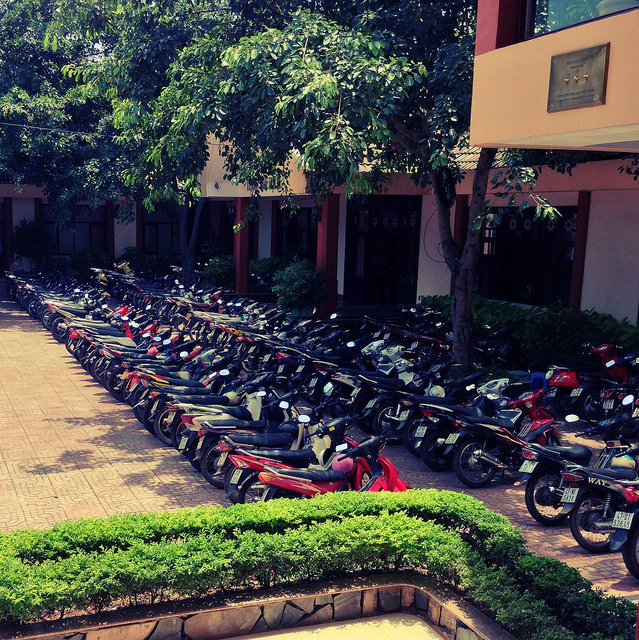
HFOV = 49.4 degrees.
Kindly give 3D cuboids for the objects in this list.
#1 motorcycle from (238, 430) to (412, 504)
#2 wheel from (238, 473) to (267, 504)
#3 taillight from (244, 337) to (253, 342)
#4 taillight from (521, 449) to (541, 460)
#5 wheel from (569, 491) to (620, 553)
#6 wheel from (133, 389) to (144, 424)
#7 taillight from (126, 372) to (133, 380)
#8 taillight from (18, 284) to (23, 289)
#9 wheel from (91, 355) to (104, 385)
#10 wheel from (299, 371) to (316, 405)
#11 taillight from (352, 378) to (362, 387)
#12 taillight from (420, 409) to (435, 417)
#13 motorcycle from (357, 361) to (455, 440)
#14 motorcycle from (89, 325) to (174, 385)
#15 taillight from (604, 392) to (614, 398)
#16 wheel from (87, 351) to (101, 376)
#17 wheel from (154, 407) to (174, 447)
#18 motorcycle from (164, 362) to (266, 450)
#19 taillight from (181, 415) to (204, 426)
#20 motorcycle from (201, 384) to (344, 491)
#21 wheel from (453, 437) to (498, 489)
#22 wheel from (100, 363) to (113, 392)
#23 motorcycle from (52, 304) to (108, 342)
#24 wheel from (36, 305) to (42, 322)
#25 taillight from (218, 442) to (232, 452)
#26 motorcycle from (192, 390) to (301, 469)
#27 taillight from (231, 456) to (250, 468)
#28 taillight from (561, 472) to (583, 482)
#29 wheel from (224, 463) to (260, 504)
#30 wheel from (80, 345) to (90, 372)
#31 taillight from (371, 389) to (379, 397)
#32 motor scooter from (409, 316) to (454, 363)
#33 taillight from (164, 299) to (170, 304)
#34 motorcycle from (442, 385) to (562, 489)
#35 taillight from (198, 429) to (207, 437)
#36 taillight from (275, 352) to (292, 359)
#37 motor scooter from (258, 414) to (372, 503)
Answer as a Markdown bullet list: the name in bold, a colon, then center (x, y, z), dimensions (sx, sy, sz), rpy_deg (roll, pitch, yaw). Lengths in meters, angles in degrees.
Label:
- **motorcycle**: center (0.048, 1.289, 6.049), dimensions (1.392, 0.714, 0.603), rpy_deg (-3, -1, -22)
- **wheel**: center (-0.557, 1.396, 5.762), dimensions (0.066, 0.302, 0.323), rpy_deg (22, -14, 29)
- **taillight**: center (-1.095, 0.227, 10.782), dimensions (0.084, 0.082, 0.268), rpy_deg (0, 5, -21)
- **taillight**: center (1.832, 1.160, 6.047), dimensions (0.090, 0.044, 0.083), rpy_deg (8, 4, -1)
- **wheel**: center (2.152, 1.607, 5.720), dimensions (0.475, 0.511, 0.453), rpy_deg (1, 6, 0)
- **wheel**: center (-2.272, 1.056, 8.731), dimensions (0.109, 0.331, 0.342), rpy_deg (-1, -18, -18)
- **taillight**: center (-2.457, 0.700, 9.031), dimensions (0.103, 0.134, 0.042), rpy_deg (5, 1, 14)
- **taillight**: center (-8.342, -1.114, 19.423), dimensions (0.138, 0.153, 0.268), rpy_deg (-3, 40, -20)
- **wheel**: center (-3.561, 0.708, 11.080), dimensions (0.127, 0.394, 0.412), rpy_deg (-1, -12, -31)
- **wheel**: center (-0.149, 0.910, 9.556), dimensions (0.106, 0.369, 0.394), rpy_deg (2, 6, -24)
- **taillight**: center (0.457, 0.721, 8.550), dimensions (0.067, 0.057, 0.113), rpy_deg (-13, -9, 3)
- **taillight**: center (1.134, 0.956, 7.336), dimensions (0.126, 0.068, 0.058), rpy_deg (5, 13, 3)
- **motorcycle**: center (1.207, 0.961, 8.273), dimensions (1.250, 0.724, 0.621), rpy_deg (-4, 1, -32)
- **motorcycle**: center (-2.806, 0.498, 10.749), dimensions (1.268, 0.750, 0.778), rpy_deg (-7, 12, -23)
- **taillight**: center (3.872, 0.963, 9.296), dimensions (0.060, 0.029, 0.081), rpy_deg (19, 52, 29)
- **wheel**: center (-3.699, 0.622, 11.316), dimensions (0.330, 0.310, 0.107), rpy_deg (-3, -7, 38)
- **wheel**: center (-1.770, 1.213, 8.019), dimensions (0.246, 0.416, 0.248), rpy_deg (2, 5, 0)
- **motorcycle**: center (-1.084, 0.907, 7.678), dimensions (1.209, 0.718, 0.674), rpy_deg (-7, 8, -20)
- **taillight**: center (-1.266, 0.950, 6.786), dimensions (0.150, 0.055, 0.112), rpy_deg (1, 5, 19)
- **motorcycle**: center (-0.407, 1.119, 6.749), dimensions (1.429, 0.822, 0.756), rpy_deg (-10, 12, -33)
- **wheel**: center (1.599, 1.447, 7.003), dimensions (0.491, 0.506, 0.159), rpy_deg (7, -10, 45)
- **wheel**: center (-3.238, 0.826, 10.513), dimensions (0.105, 0.298, 0.315), rpy_deg (1, 0, -42)
- **motorcycle**: center (-4.482, 0.068, 13.534), dimensions (1.393, 0.814, 0.845), rpy_deg (-4, 12, -19)
- **wheel**: center (-6.877, -0.297, 17.061), dimensions (0.110, 0.341, 0.353), rpy_deg (-5, 16, -2)
- **taillight**: center (-0.824, 1.100, 6.073), dimensions (0.076, 0.053, 0.175), rpy_deg (-30, -4, -6)
- **motorcycle**: center (-0.675, 1.021, 6.867), dimensions (1.074, 0.645, 0.545), rpy_deg (-9, 8, -27)
- **taillight**: center (-0.643, 1.177, 5.724), dimensions (0.157, 0.095, 0.080), rpy_deg (2, 5, 7)
- **taillight**: center (1.975, 1.237, 5.450), dimensions (0.114, 0.099, 0.159), rpy_deg (2, 5, -3)
- **wheel**: center (-0.673, 1.435, 6.177), dimensions (0.108, 0.385, 0.402), rpy_deg (5, -14, -25)
- **wheel**: center (-4.035, 0.573, 11.885), dimensions (0.127, 0.359, 0.369), rpy_deg (3, -30, -30)
- **taillight**: center (0.659, 0.830, 8.224), dimensions (0.084, 0.021, 0.088), rpy_deg (38, -10, -15)
- **motor scooter**: center (1.944, 0.279, 11.889), dimensions (0.703, 0.749, 0.742), rpy_deg (-5, 11, -19)
- **taillight**: center (-3.352, -0.528, 15.247), dimensions (0.064, 0.069, 0.118), rpy_deg (-3, 49, -27)
- **motorcycle**: center (1.919, 1.220, 7.427), dimensions (1.538, 0.882, 0.736), rpy_deg (-11, 4, -30)
- **taillight**: center (-1.101, 1.046, 6.511), dimensions (0.050, 0.059, 0.145), rpy_deg (8, 1, -33)
- **taillight**: center (-0.521, 0.443, 9.840), dimensions (0.175, 0.089, 0.082), rpy_deg (2, 11, -4)
- **motor scooter**: center (-0.113, 1.259, 6.093), dimensions (1.046, 0.796, 0.693), rpy_deg (-4, 14, -26)
